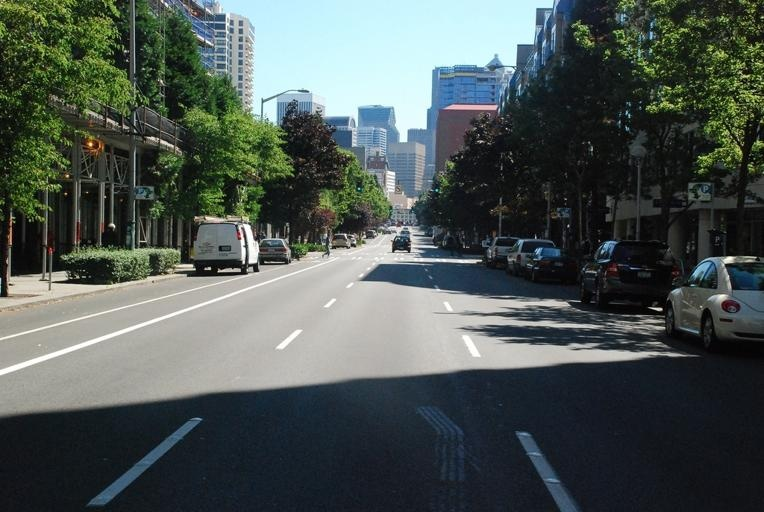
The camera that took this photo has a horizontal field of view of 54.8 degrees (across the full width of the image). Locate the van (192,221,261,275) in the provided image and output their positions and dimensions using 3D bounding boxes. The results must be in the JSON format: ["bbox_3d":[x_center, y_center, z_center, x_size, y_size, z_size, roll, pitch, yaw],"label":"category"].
[{"bbox_3d":[-7.333,-0.431,34.517,2.163,2.530,3.233,2,6,9],"label":"van"}]

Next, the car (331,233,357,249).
[{"bbox_3d":[-4.991,-1.813,91.717,1.517,1.463,3.616,1,8,7],"label":"car"}]

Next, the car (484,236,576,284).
[{"bbox_3d":[7.321,0.106,34.465,1.583,1.296,4.796,1,5,-2],"label":"car"}]
